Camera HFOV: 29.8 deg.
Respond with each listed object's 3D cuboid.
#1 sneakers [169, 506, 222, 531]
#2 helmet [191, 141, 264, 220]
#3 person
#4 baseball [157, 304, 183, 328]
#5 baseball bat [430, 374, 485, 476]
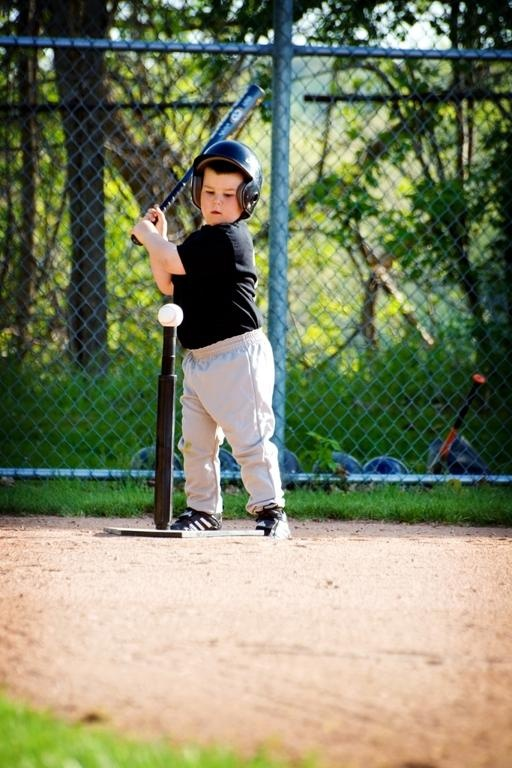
[{"bbox_3d":[-0.164,0.363,2.585,0.155,0.061,0.051,8,-7,-31],"label":"sneakers"},{"bbox_3d":[-0.065,-0.546,2.608,0.169,0.165,0.213,3,-5,14],"label":"helmet"},{"bbox_3d":[-0.118,-0.119,2.547,0.402,1.058,0.403,0,5,-7],"label":"person"},{"bbox_3d":[-0.195,-0.164,2.329,0.057,0.054,0.057,2,1,42],"label":"baseball"},{"bbox_3d":[0.873,0.174,4.180,0.102,0.100,0.456,27,-37,1],"label":"baseball bat"}]
